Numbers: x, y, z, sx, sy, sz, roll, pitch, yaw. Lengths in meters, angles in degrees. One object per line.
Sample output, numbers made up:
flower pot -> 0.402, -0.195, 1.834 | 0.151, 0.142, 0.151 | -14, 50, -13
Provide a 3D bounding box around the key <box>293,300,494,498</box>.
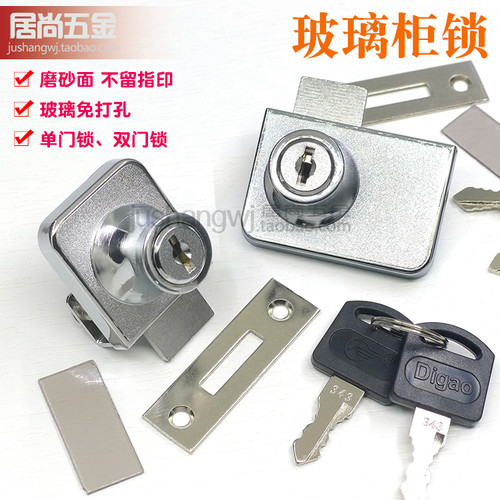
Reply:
key -> 0.171, 0.166, 0.628 | 0.203, 0.116, 0.210 | 20, 44, 28
